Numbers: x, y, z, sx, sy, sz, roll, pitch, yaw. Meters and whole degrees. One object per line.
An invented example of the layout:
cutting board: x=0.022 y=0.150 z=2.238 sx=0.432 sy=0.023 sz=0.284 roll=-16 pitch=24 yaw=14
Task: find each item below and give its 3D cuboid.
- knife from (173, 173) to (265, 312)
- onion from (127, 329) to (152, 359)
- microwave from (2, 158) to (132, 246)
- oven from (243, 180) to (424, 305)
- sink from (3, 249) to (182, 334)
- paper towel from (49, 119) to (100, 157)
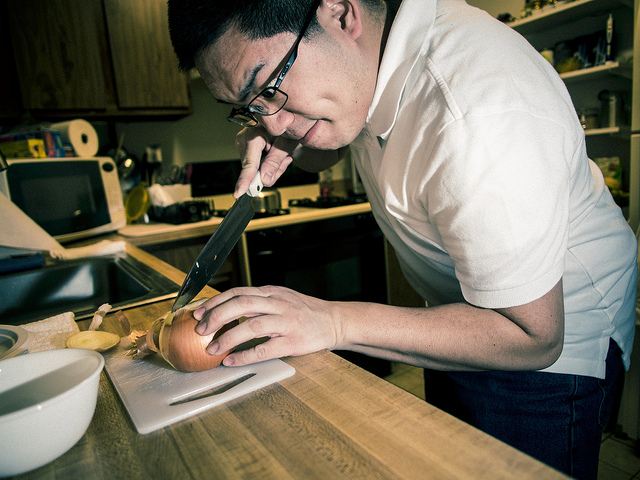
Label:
knife: x=-0.368 y=0.007 z=1.885 sx=0.054 sy=0.099 sz=0.722 roll=2 pitch=51 yaw=35
onion: x=-0.383 y=0.218 z=1.114 sx=0.043 sy=0.065 sz=0.045 roll=-3 pitch=-11 yaw=29
microwave: x=-0.991 y=-0.166 z=2.084 sx=0.258 sy=0.377 sz=0.511 roll=5 pitch=16 yaw=24
oven: x=-0.028 y=0.126 z=2.873 sx=0.750 sy=0.835 sz=0.524 roll=-11 pitch=14 yaw=-19
sink: x=-0.736 y=0.144 z=1.595 sx=0.338 sy=0.127 sz=0.281 roll=-2 pitch=10 yaw=-25
paper towel: x=-1.002 y=-0.409 z=2.139 sx=0.166 sy=0.157 sz=0.143 roll=-14 pitch=16 yaw=-25
